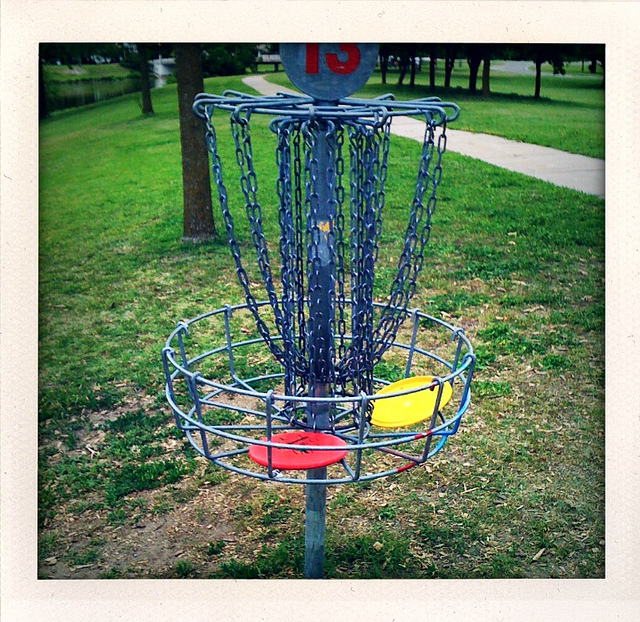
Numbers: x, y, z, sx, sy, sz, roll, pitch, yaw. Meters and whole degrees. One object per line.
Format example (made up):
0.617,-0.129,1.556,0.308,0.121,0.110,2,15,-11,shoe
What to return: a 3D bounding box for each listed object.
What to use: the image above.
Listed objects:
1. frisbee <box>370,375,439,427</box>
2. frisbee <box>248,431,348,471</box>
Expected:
0.498,0.512,7.008,0.434,0.045,0.464,-4,31,34,frisbee
-0.112,0.748,6.706,0.525,0.187,0.411,-1,18,-3,frisbee
